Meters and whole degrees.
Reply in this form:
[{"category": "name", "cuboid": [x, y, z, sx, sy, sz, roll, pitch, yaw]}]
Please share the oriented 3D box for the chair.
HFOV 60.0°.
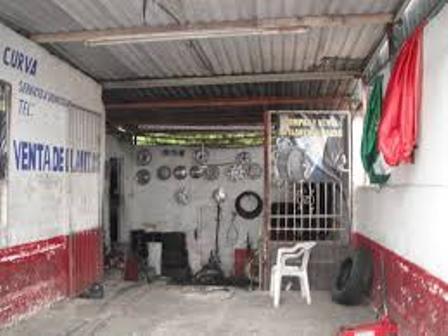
[{"category": "chair", "cuboid": [1.002, 1.587, 5.926, 0.645, 0.947, 0.646, -1, -3, 40]}]
